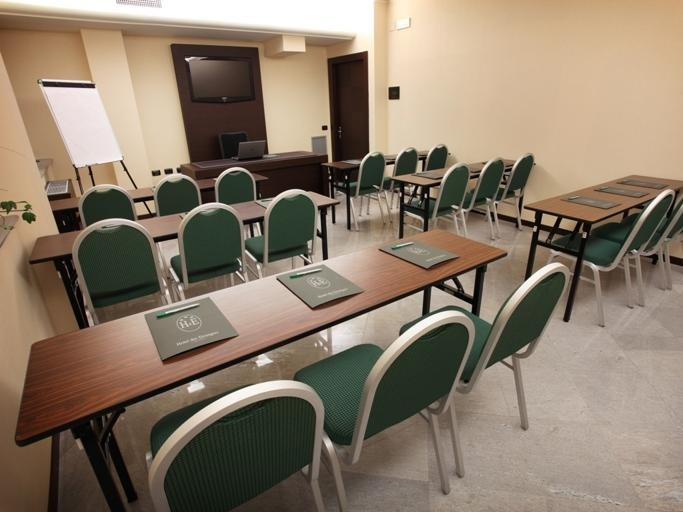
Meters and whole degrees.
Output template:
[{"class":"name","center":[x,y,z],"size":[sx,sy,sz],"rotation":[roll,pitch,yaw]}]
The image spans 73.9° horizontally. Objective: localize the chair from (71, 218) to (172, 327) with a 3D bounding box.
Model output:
[{"class":"chair","center":[-1.531,0.119,3.158],"size":[0.450,0.912,0.563],"rotation":[-11,49,-23]}]

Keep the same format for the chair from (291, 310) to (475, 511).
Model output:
[{"class":"chair","center":[0.242,0.860,2.371],"size":[0.536,1.025,0.611],"rotation":[-20,42,-22]}]

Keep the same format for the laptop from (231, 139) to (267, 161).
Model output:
[{"class":"laptop","center":[-1.322,-1.539,6.469],"size":[0.419,0.305,0.295],"rotation":[-17,47,-28]}]

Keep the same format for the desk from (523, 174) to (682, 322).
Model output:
[{"class":"desk","center":[2.216,-0.037,3.741],"size":[1.205,0.613,0.366],"rotation":[-26,36,-30]}]

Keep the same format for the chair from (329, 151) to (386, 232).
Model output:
[{"class":"chair","center":[0.228,-0.942,5.981],"size":[0.748,0.992,1.211],"rotation":[-1,23,6]}]

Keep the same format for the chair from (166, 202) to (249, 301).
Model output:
[{"class":"chair","center":[-1.006,-0.019,3.451],"size":[0.496,0.958,0.540],"rotation":[-11,46,-23]}]

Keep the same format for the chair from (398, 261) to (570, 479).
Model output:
[{"class":"chair","center":[0.840,0.716,2.635],"size":[0.578,1.182,0.686],"rotation":[-20,38,-19]}]

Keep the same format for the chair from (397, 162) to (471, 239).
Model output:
[{"class":"chair","center":[1.011,-0.589,4.971],"size":[0.573,1.038,0.644],"rotation":[-23,40,-27]}]

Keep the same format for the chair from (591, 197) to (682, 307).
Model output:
[{"class":"chair","center":[2.441,-0.016,3.781],"size":[0.670,0.658,0.306],"rotation":[-27,36,-21]}]

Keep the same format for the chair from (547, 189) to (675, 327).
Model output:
[{"class":"chair","center":[2.190,0.034,3.671],"size":[0.570,1.086,0.706],"rotation":[-21,35,-18]}]
